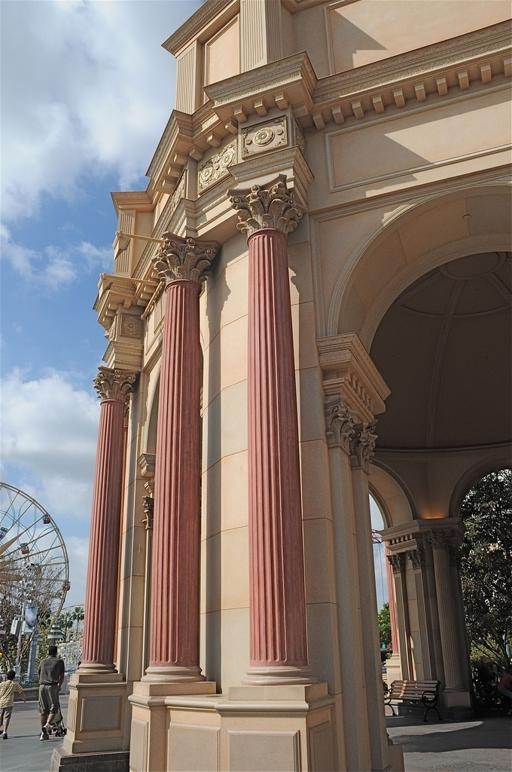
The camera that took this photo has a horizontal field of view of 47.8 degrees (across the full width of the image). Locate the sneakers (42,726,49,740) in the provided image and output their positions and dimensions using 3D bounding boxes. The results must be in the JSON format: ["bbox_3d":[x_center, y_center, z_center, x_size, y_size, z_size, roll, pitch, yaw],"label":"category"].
[{"bbox_3d":[-4.972,8.101,13.555,0.135,0.405,0.170,-3,4,-12],"label":"sneakers"}]

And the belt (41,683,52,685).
[{"bbox_3d":[-4.828,6.798,13.276,0.214,0.084,0.067,-8,-20,14],"label":"belt"}]

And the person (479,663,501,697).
[{"bbox_3d":[7.780,9.732,19.450,0.605,0.839,2.677,-9,-21,17],"label":"person"}]

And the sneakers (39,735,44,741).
[{"bbox_3d":[-5.027,8.177,13.522,0.060,0.158,0.223,4,-33,-10],"label":"sneakers"}]
